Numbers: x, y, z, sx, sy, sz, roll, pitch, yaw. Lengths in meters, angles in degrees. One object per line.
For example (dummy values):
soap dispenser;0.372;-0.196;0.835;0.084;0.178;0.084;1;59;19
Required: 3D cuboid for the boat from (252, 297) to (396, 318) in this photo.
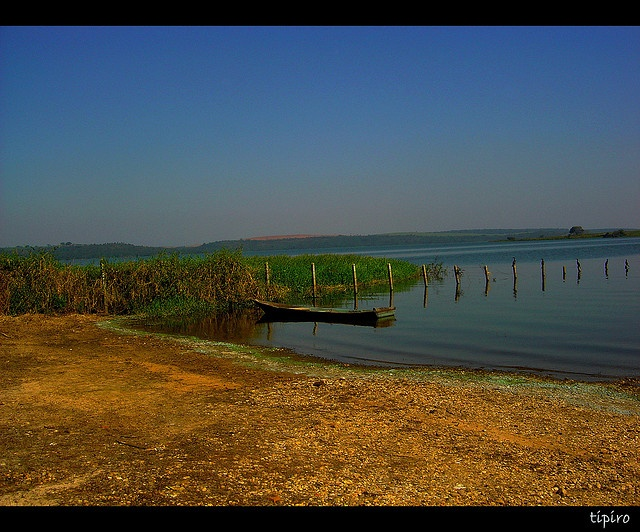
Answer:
boat;0.031;1.669;27.920;5.183;0.636;1.616;2;-2;17
